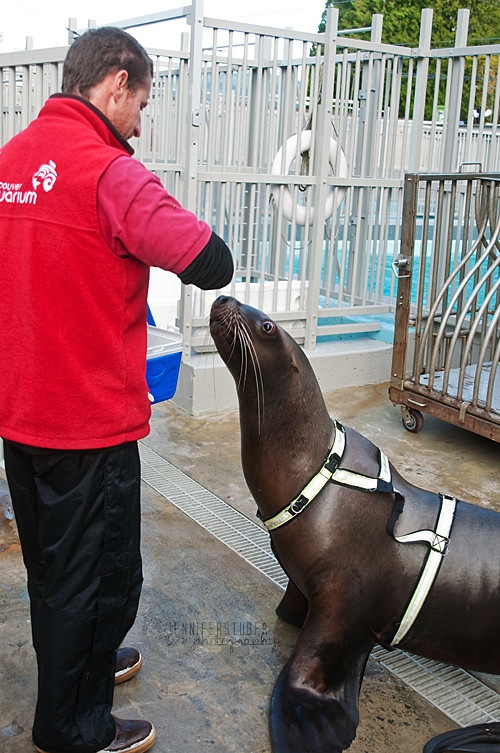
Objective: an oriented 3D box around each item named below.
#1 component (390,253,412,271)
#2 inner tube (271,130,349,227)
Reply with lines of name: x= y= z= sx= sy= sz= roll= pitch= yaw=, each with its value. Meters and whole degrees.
component: x=1.035 y=-0.794 z=4.782 sx=0.134 sy=0.115 sz=0.131 roll=-5 pitch=13 yaw=-20
inner tube: x=0.469 y=-1.653 z=5.736 sx=0.530 sy=0.782 sz=1.039 roll=10 pitch=15 yaw=24
